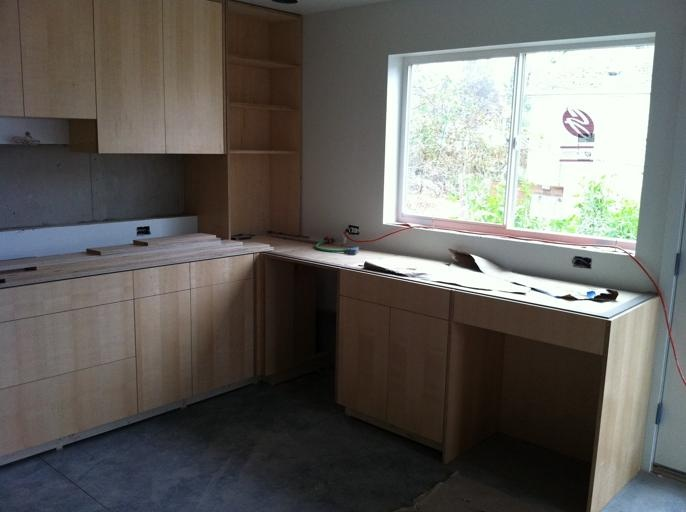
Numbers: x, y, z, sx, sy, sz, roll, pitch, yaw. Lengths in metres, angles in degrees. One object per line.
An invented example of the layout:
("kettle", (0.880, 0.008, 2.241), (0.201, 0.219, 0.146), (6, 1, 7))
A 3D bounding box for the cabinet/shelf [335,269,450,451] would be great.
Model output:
("cabinet/shelf", (0.455, 0.600, 3.626), (0.827, 1.152, 0.583), (10, 20, 30))

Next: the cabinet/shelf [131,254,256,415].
("cabinet/shelf", (-1.108, 0.553, 3.649), (1.026, 1.010, 0.324), (-4, 8, -43))

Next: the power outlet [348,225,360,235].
("power outlet", (0.090, -0.215, 4.262), (0.088, 0.066, 0.063), (3, 8, 23))

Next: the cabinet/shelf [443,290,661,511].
("cabinet/shelf", (1.270, 0.769, 3.312), (1.344, 1.497, 1.109), (6, 8, 44))
